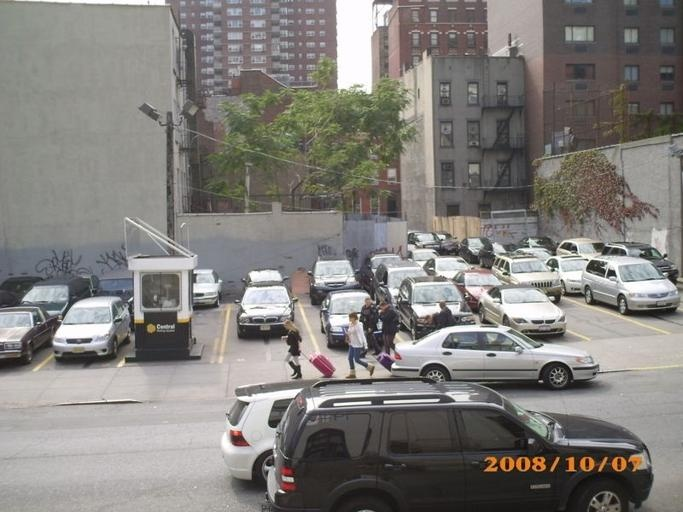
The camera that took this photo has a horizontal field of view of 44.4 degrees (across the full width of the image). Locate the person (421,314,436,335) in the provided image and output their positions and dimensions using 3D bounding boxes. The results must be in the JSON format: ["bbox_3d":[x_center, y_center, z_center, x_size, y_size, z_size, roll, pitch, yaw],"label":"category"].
[{"bbox_3d":[3.285,2.511,31.269,0.511,0.724,0.714,-1,-15,3],"label":"person"}]

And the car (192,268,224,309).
[{"bbox_3d":[-6.573,1.630,40.458,1.667,1.467,4.141,0,2,-3],"label":"car"}]

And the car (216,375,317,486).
[{"bbox_3d":[-2.142,4.452,20.779,2.875,1.549,1.796,-6,9,-9],"label":"car"}]

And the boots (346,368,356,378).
[{"bbox_3d":[0.275,3.920,27.886,0.403,0.308,0.160,6,10,30],"label":"boots"}]

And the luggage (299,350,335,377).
[{"bbox_3d":[-0.890,3.681,28.413,0.926,0.326,0.708,35,-8,41],"label":"luggage"}]
